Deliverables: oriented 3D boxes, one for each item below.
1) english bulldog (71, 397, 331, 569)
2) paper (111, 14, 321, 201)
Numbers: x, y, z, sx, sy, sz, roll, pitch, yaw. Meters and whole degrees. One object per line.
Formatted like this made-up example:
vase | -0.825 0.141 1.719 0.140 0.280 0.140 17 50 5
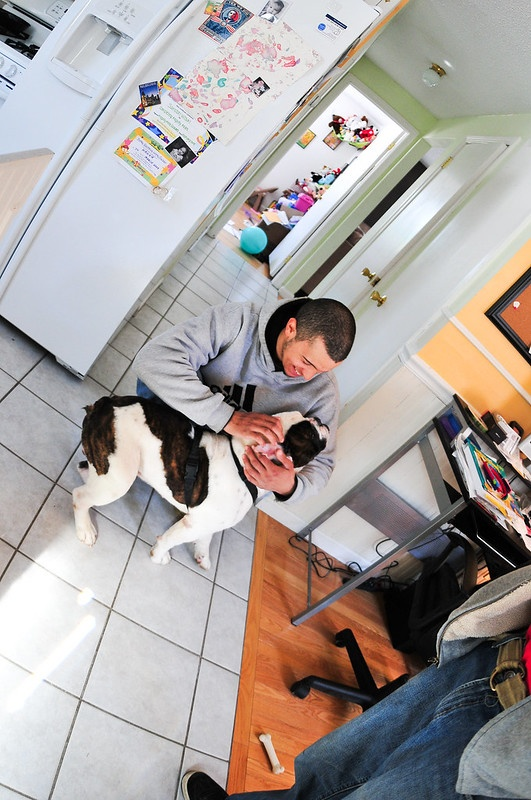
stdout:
english bulldog | -0.243 0.261 1.809 0.753 0.658 0.267 16 26 -4
paper | -0.095 -1.122 2.201 0.498 0.982 0.022 47 2 -22
